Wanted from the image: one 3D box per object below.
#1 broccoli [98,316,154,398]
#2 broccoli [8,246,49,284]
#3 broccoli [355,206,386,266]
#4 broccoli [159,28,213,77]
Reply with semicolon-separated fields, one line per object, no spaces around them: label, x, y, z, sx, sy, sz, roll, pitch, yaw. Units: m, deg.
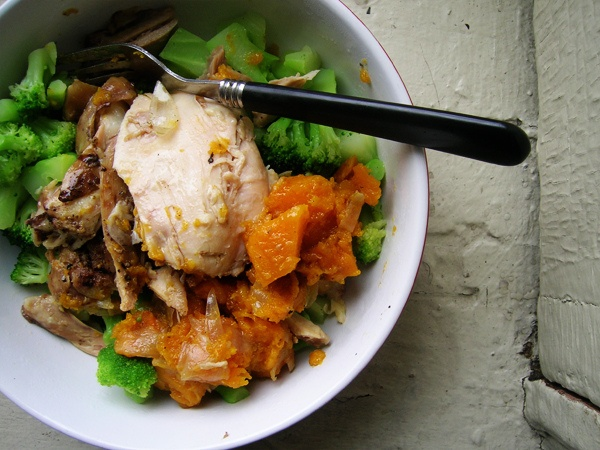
broccoli;-1.186;0.945;4.195;0.332;0.136;0.517;-31;68;-16
broccoli;-1.827;0.292;4.209;0.233;0.092;0.281;8;72;-14
broccoli;0.461;0.077;3.966;0.205;0.122;0.373;2;87;-6
broccoli;-0.799;-1.101;4.170;0.297;0.105;0.344;30;86;-3
